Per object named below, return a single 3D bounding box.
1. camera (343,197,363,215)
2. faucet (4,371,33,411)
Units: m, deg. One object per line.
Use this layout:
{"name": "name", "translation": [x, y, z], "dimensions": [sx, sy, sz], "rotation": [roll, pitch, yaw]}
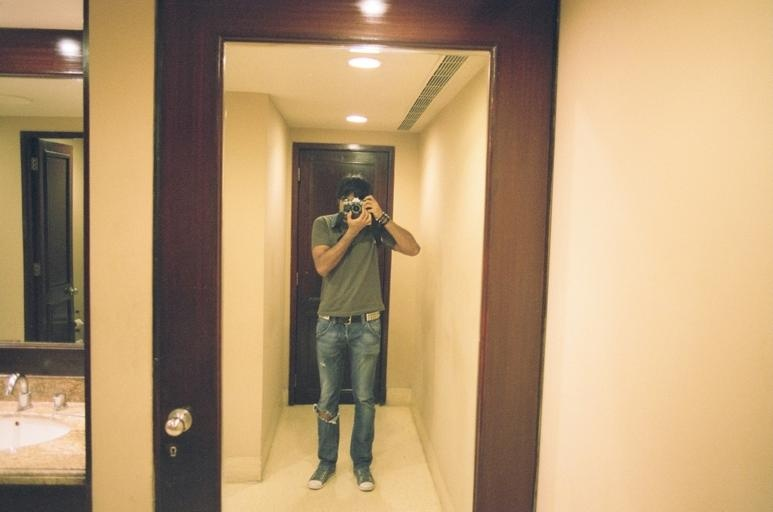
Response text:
{"name": "camera", "translation": [-0.093, -0.137, 1.840], "dimensions": [0.058, 0.053, 0.040], "rotation": [1, 3, -12]}
{"name": "faucet", "translation": [-1.165, 0.426, 2.102], "dimensions": [0.098, 0.117, 0.057], "rotation": [0, -1, 21]}
